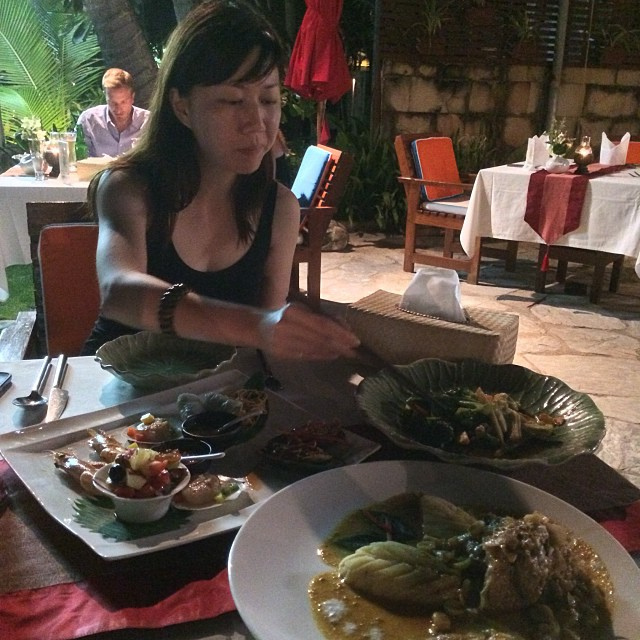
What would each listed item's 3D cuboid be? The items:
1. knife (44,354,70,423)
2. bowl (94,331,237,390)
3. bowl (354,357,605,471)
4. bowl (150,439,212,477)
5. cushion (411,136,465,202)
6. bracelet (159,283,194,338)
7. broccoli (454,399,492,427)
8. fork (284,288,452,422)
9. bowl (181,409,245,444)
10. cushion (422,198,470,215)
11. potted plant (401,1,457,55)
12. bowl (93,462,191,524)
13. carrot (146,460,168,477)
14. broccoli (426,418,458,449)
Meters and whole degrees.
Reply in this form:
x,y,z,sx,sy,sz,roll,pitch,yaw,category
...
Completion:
x,y,z,sx,sy,sz,roll,pitch,yaw,category
-0.544,0.137,1.173,0.051,0.016,0.267,-5,18,-16,knife
-0.363,0.095,1.304,0.319,0.061,0.268,5,16,4,bowl
0.291,0.181,1.119,0.496,0.082,0.465,2,16,-1,bowl
-0.227,0.227,0.947,0.068,0.022,0.064,5,20,-2,bowl
1.198,-1.606,5.780,0.829,0.682,0.190,-13,6,-42,cushion
-0.285,-0.022,1.063,0.035,0.082,0.086,-3,6,14,bracelet
0.282,0.176,1.059,0.055,0.014,0.043,-16,23,-29,broccoli
0.115,0.086,1.229,0.409,0.067,0.043,40,-7,4,fork
-0.203,0.191,1.026,0.085,0.026,0.059,8,19,14,bowl
1.271,-1.114,5.500,0.335,0.064,0.300,9,28,17,cushion
1.338,-4.022,7.696,0.734,0.713,0.742,-7,36,-4,potted plant
-0.266,0.231,0.814,0.105,0.034,0.099,5,20,-2,bowl
-0.245,0.220,0.827,0.018,0.008,0.021,-6,25,-6,carrot
0.216,0.203,0.994,0.055,0.014,0.046,-9,53,-5,broccoli
